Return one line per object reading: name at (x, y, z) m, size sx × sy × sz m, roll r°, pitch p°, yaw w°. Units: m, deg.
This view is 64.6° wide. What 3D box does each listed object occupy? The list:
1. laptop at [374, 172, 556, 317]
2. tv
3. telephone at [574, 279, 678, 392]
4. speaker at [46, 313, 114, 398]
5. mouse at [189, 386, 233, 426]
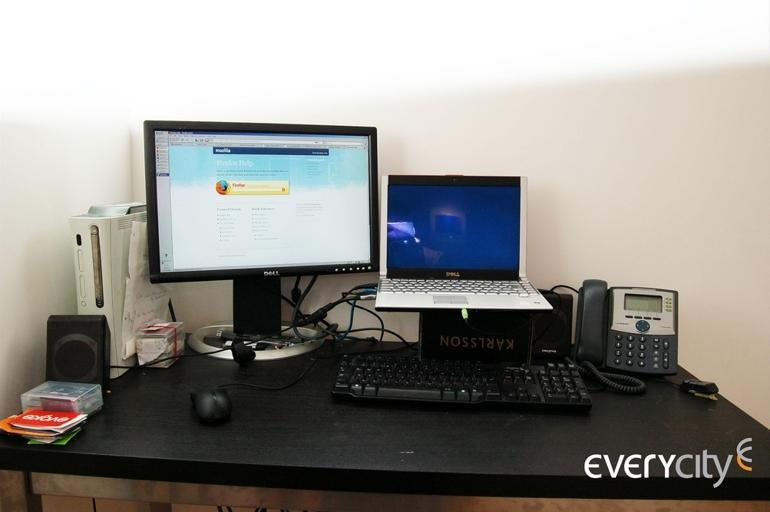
laptop at (0.182, -0.037, 1.668) m, size 0.467 × 0.289 × 0.315 m, roll -1°, pitch 15°, yaw 1°
tv at (-0.367, -0.069, 1.830) m, size 0.720 × 0.650 × 0.356 m, roll -4°, pitch 12°, yaw -36°
telephone at (0.659, 0.223, 1.674) m, size 0.268 × 0.261 × 0.104 m, roll 3°, pitch -17°, yaw 13°
speaker at (-0.817, 0.255, 1.635) m, size 0.145 × 0.200 × 0.115 m, roll 1°, pitch 3°, yaw -13°
mouse at (-0.428, 0.359, 1.522) m, size 0.098 × 0.039 × 0.133 m, roll -7°, pitch 23°, yaw -28°
